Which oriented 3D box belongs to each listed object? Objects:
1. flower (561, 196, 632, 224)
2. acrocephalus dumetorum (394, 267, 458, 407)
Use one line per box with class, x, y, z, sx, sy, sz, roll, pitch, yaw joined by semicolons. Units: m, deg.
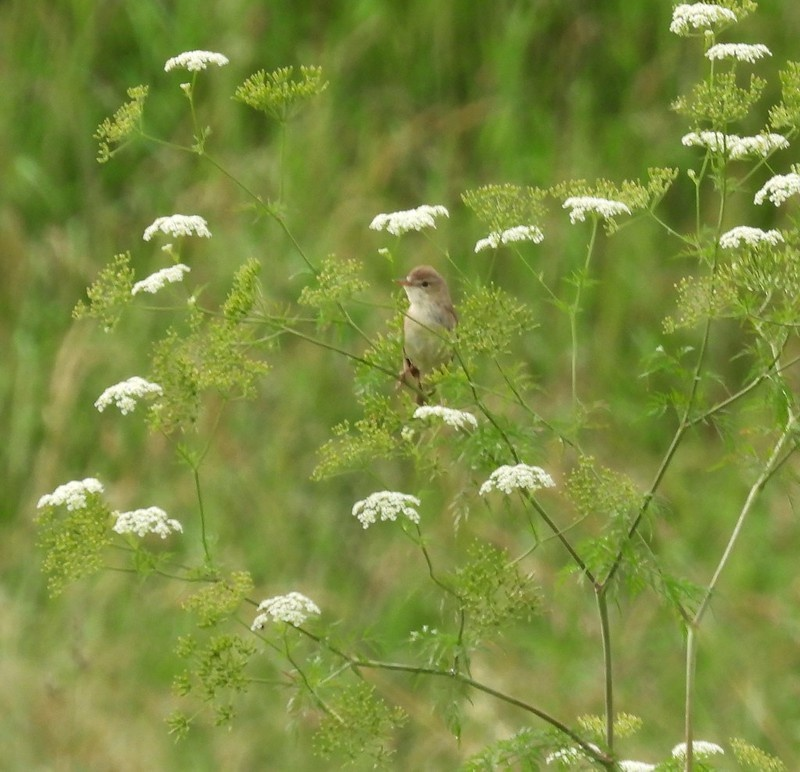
flower;0.532;-0.500;3.650;0.112;0.073;0.137;-3;14;-13
acrocephalus dumetorum;0.091;-0.224;4.730;0.157;0.585;0.355;2;44;17
